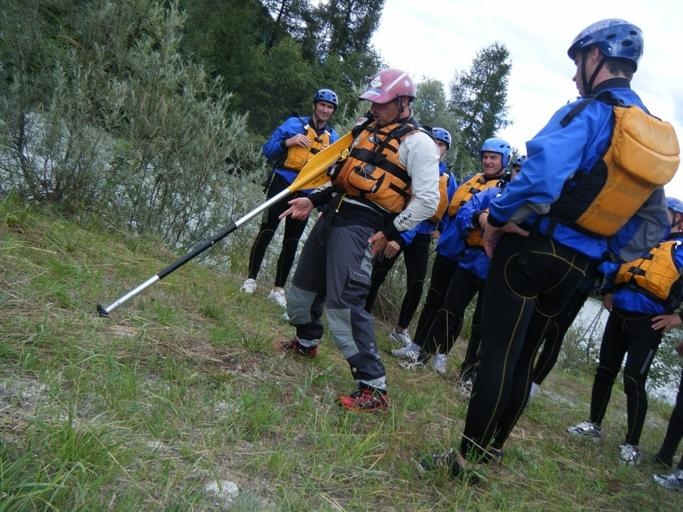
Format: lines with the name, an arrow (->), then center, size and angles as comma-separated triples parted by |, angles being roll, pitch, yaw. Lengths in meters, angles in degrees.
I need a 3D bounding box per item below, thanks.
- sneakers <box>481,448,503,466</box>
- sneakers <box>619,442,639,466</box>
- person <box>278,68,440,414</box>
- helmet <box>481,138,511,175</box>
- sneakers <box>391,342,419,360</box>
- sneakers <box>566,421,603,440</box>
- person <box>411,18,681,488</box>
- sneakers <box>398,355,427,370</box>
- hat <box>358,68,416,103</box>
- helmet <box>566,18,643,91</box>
sneakers -> 1.152, 1.519, 4.054 | 0.125, 0.080, 0.214 | 16, -11, 14
sneakers -> 2.684, 1.851, 4.998 | 0.105, 0.133, 0.305 | -11, -20, 39
person -> 0.113, -0.250, 4.599 | 1.162, 2.740, 0.864 | 16, 8, 42
helmet -> 1.818, -1.200, 6.222 | 0.325, 0.422, 0.437 | 20, 27, 36
sneakers -> 0.777, 1.107, 6.232 | 0.375, 0.190, 0.135 | -2, -6, 32
sneakers -> 2.487, 1.777, 5.504 | 0.407, 0.193, 0.156 | 4, -8, -6
person -> 1.432, 0.025, 3.715 | 1.007, 3.408, 0.541 | 17, 5, 5
sneakers -> 0.781, 1.165, 5.858 | 0.330, 0.150, 0.121 | 8, -4, -28
hat -> 0.407, -1.416, 4.458 | 0.529, 0.296, 0.374 | -11, 17, -28
helmet -> 1.888, -1.379, 3.844 | 0.398, 0.543, 0.466 | 15, -3, -41
